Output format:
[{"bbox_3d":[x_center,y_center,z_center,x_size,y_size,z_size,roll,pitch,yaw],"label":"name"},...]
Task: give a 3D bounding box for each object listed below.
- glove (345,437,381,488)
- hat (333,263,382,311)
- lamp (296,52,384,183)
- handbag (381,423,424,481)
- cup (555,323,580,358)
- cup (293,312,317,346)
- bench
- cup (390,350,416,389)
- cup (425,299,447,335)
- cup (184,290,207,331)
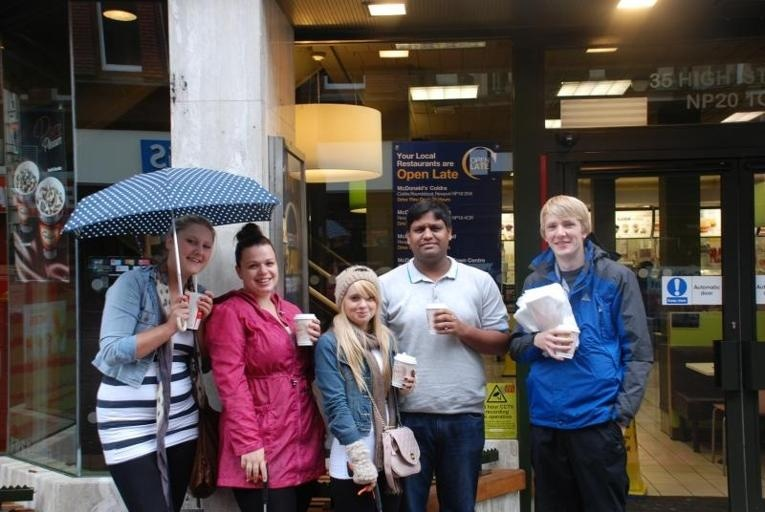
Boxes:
[{"bbox_3d":[-0.139,1.487,5.606,0.209,0.341,0.138,-10,-7,-3],"label":"glove"},{"bbox_3d":[-0.188,0.219,5.945,0.290,0.284,0.365,0,-19,-21],"label":"hat"},{"bbox_3d":[-0.416,-1.203,7.325,1.002,1.084,0.963,-1,-3,-10],"label":"lamp"},{"bbox_3d":[0.131,1.432,5.738,0.201,0.384,0.410,-16,-14,28],"label":"handbag"},{"bbox_3d":[1.394,0.618,5.840,0.271,0.287,0.229,0,0,6],"label":"cup"},{"bbox_3d":[-0.565,0.567,5.829,0.216,0.233,0.219,2,-19,1],"label":"cup"},{"bbox_3d":[2.920,1.222,7.044,0.504,0.888,0.485,-1,0,2],"label":"bench"},{"bbox_3d":[0.103,0.845,5.772,0.232,0.259,0.240,12,-13,3],"label":"cup"},{"bbox_3d":[0.416,0.487,6.005,0.155,0.265,0.218,0,2,4],"label":"cup"},{"bbox_3d":[-1.371,0.410,5.676,0.124,0.301,0.256,0,2,-12],"label":"cup"}]
